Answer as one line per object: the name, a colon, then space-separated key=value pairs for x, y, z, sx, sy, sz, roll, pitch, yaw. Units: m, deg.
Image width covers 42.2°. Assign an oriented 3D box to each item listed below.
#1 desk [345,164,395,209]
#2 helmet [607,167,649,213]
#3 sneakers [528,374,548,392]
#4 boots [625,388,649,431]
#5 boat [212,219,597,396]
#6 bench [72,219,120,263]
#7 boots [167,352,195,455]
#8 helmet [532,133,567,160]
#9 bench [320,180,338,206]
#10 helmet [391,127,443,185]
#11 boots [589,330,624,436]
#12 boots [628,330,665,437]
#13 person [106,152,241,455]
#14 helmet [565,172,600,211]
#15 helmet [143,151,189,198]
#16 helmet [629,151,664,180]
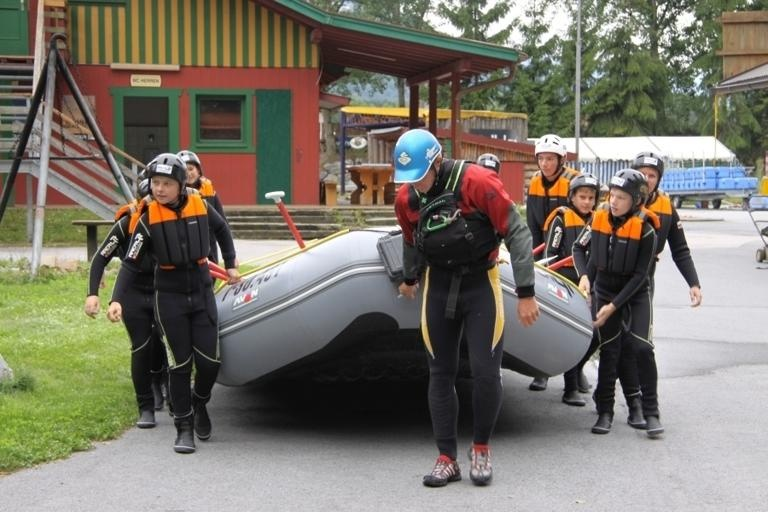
desk: x=-0.354 y=-1.871 z=25.673 sx=1.173 sy=1.033 sz=0.818 roll=0 pitch=11 yaw=-3
helmet: x=2.459 y=-0.713 z=9.956 sx=0.320 sy=0.452 sz=0.405 roll=11 pitch=16 yaw=30
sneakers: x=1.755 y=1.465 z=11.426 sx=0.141 sy=0.215 sz=0.489 roll=0 pitch=-19 yaw=12
boots: x=2.639 y=1.610 z=10.360 sx=0.183 sy=0.339 sz=0.438 roll=1 pitch=6 yaw=-2
boat: x=0.649 y=0.736 z=11.536 sx=3.051 sy=1.605 sz=4.717 roll=-9 pitch=-6 yaw=17
bench: x=-4.636 y=-0.259 z=15.894 sx=0.796 sy=0.688 sz=0.828 roll=-2 pitch=7 yaw=-7
boots: x=-1.966 y=1.428 z=9.677 sx=0.228 sy=0.895 sz=0.379 roll=-3 pitch=11 yaw=-13
helmet: x=1.907 y=-1.285 z=11.411 sx=0.247 sy=0.273 sz=0.351 roll=2 pitch=-9 yaw=26
bench: x=-1.394 y=-1.641 z=25.753 sx=0.544 sy=0.787 sz=0.781 roll=0 pitch=4 yaw=-1
helmet: x=0.260 y=-0.976 z=9.048 sx=0.448 sy=0.352 sz=0.647 roll=4 pitch=34 yaw=30
boots: x=2.275 y=1.305 z=10.267 sx=0.249 sy=1.029 sz=0.646 roll=2 pitch=6 yaw=26
boots: x=2.667 y=1.295 z=10.119 sx=0.200 sy=1.010 sz=0.452 roll=-5 pitch=12 yaw=-23
person: x=-1.973 y=0.433 z=9.710 sx=0.686 sy=2.821 sz=0.573 roll=10 pitch=15 yaw=43
helmet: x=2.195 y=-0.720 z=10.855 sx=0.275 sy=0.361 sz=0.373 roll=7 pitch=-18 yaw=28
helmet: x=-2.124 y=-0.746 z=9.718 sx=0.400 sy=0.526 sz=0.531 roll=7 pitch=-23 yaw=-12
helmet: x=2.767 y=-0.943 z=10.508 sx=0.239 sy=0.316 sz=0.334 roll=14 pitch=-31 yaw=17
